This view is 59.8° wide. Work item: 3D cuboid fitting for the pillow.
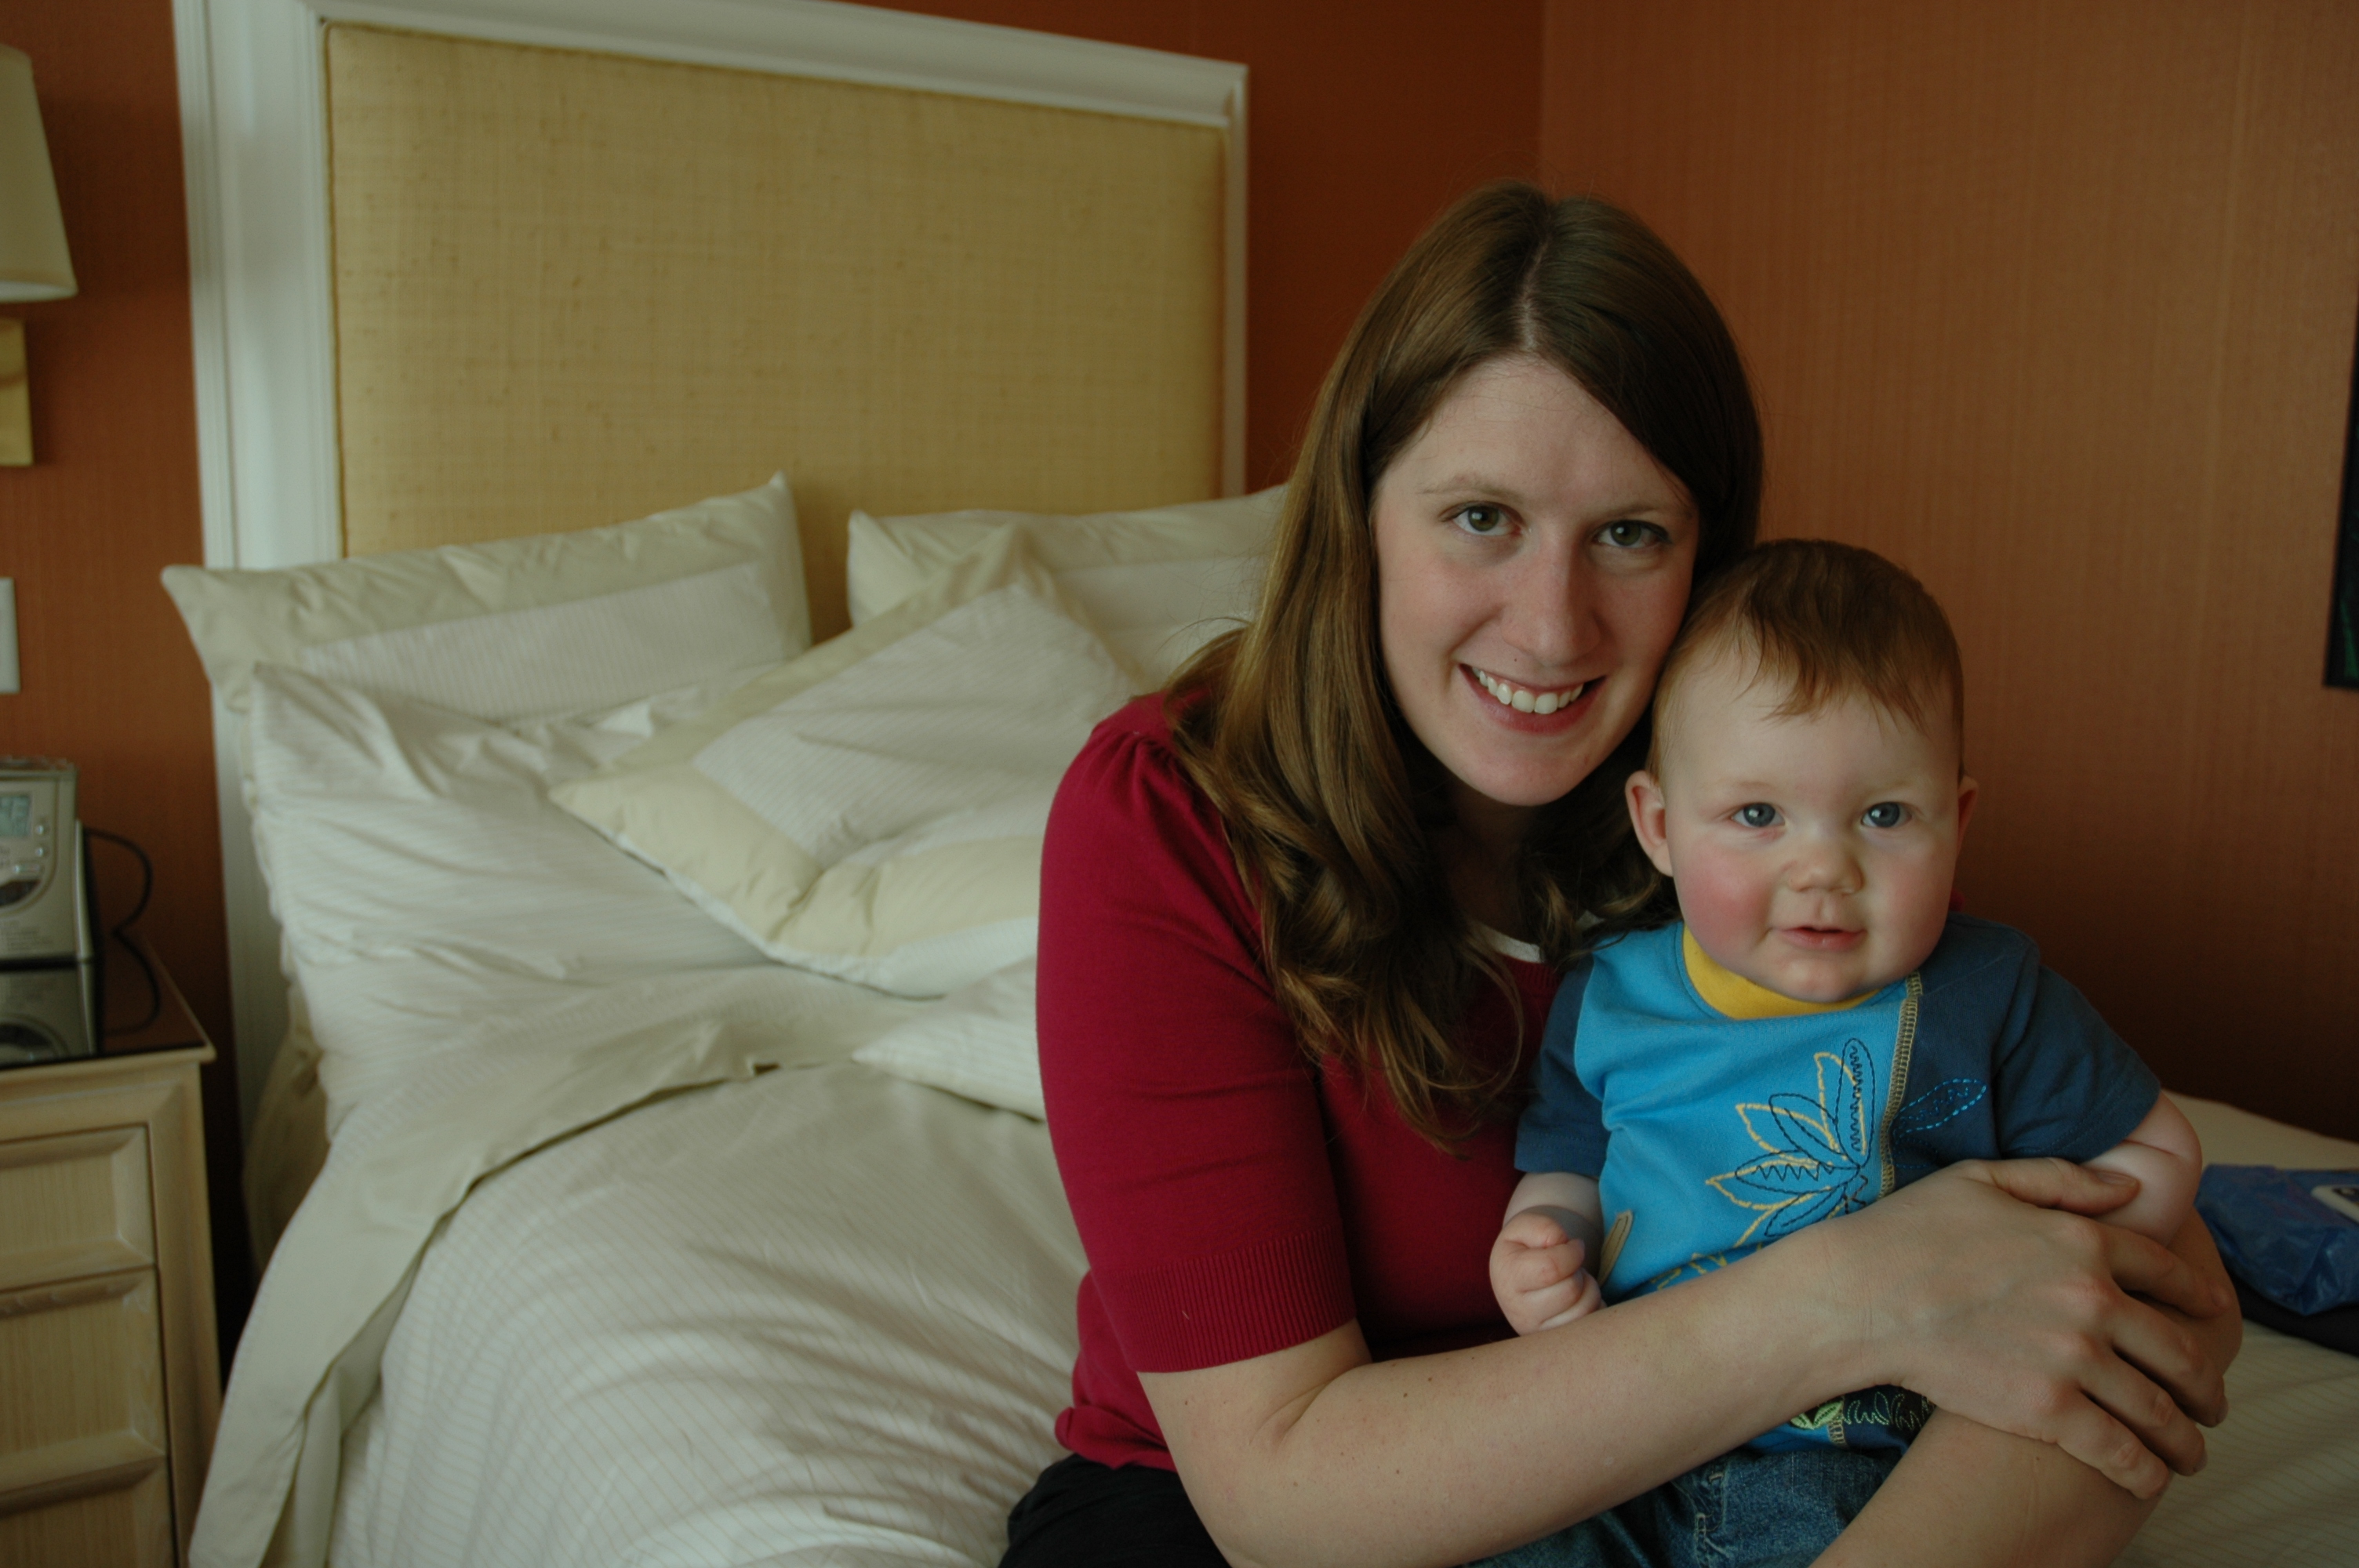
[{"bbox_3d":[-0.778,-0.070,3.569,1.470,0.465,1.134,-12,53,-12],"label":"pillow"}]
